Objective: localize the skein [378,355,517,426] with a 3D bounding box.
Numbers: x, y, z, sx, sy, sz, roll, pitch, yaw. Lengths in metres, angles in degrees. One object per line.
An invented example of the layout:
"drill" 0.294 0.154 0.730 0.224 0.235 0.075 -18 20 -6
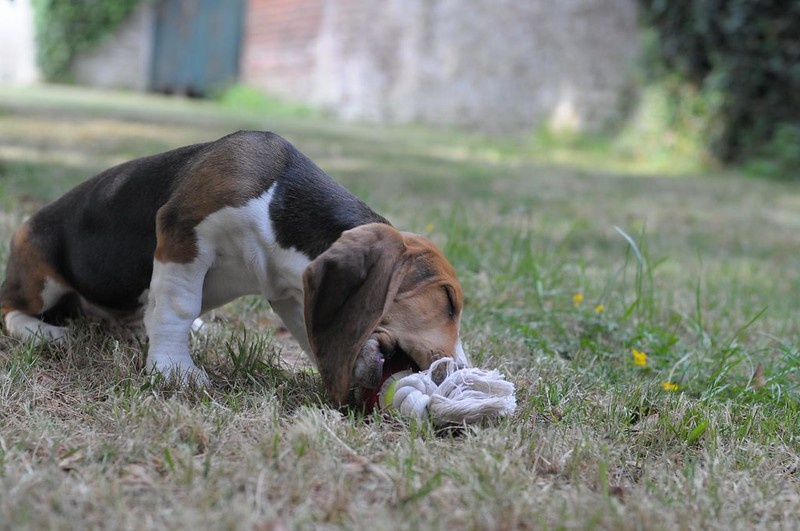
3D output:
"skein" 0.251 0.654 4.209 0.578 0.358 0.294 0 67 -10

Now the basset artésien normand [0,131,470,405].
"basset artésien normand" -0.834 0.046 5.092 3.393 1.567 1.137 11 -4 24
